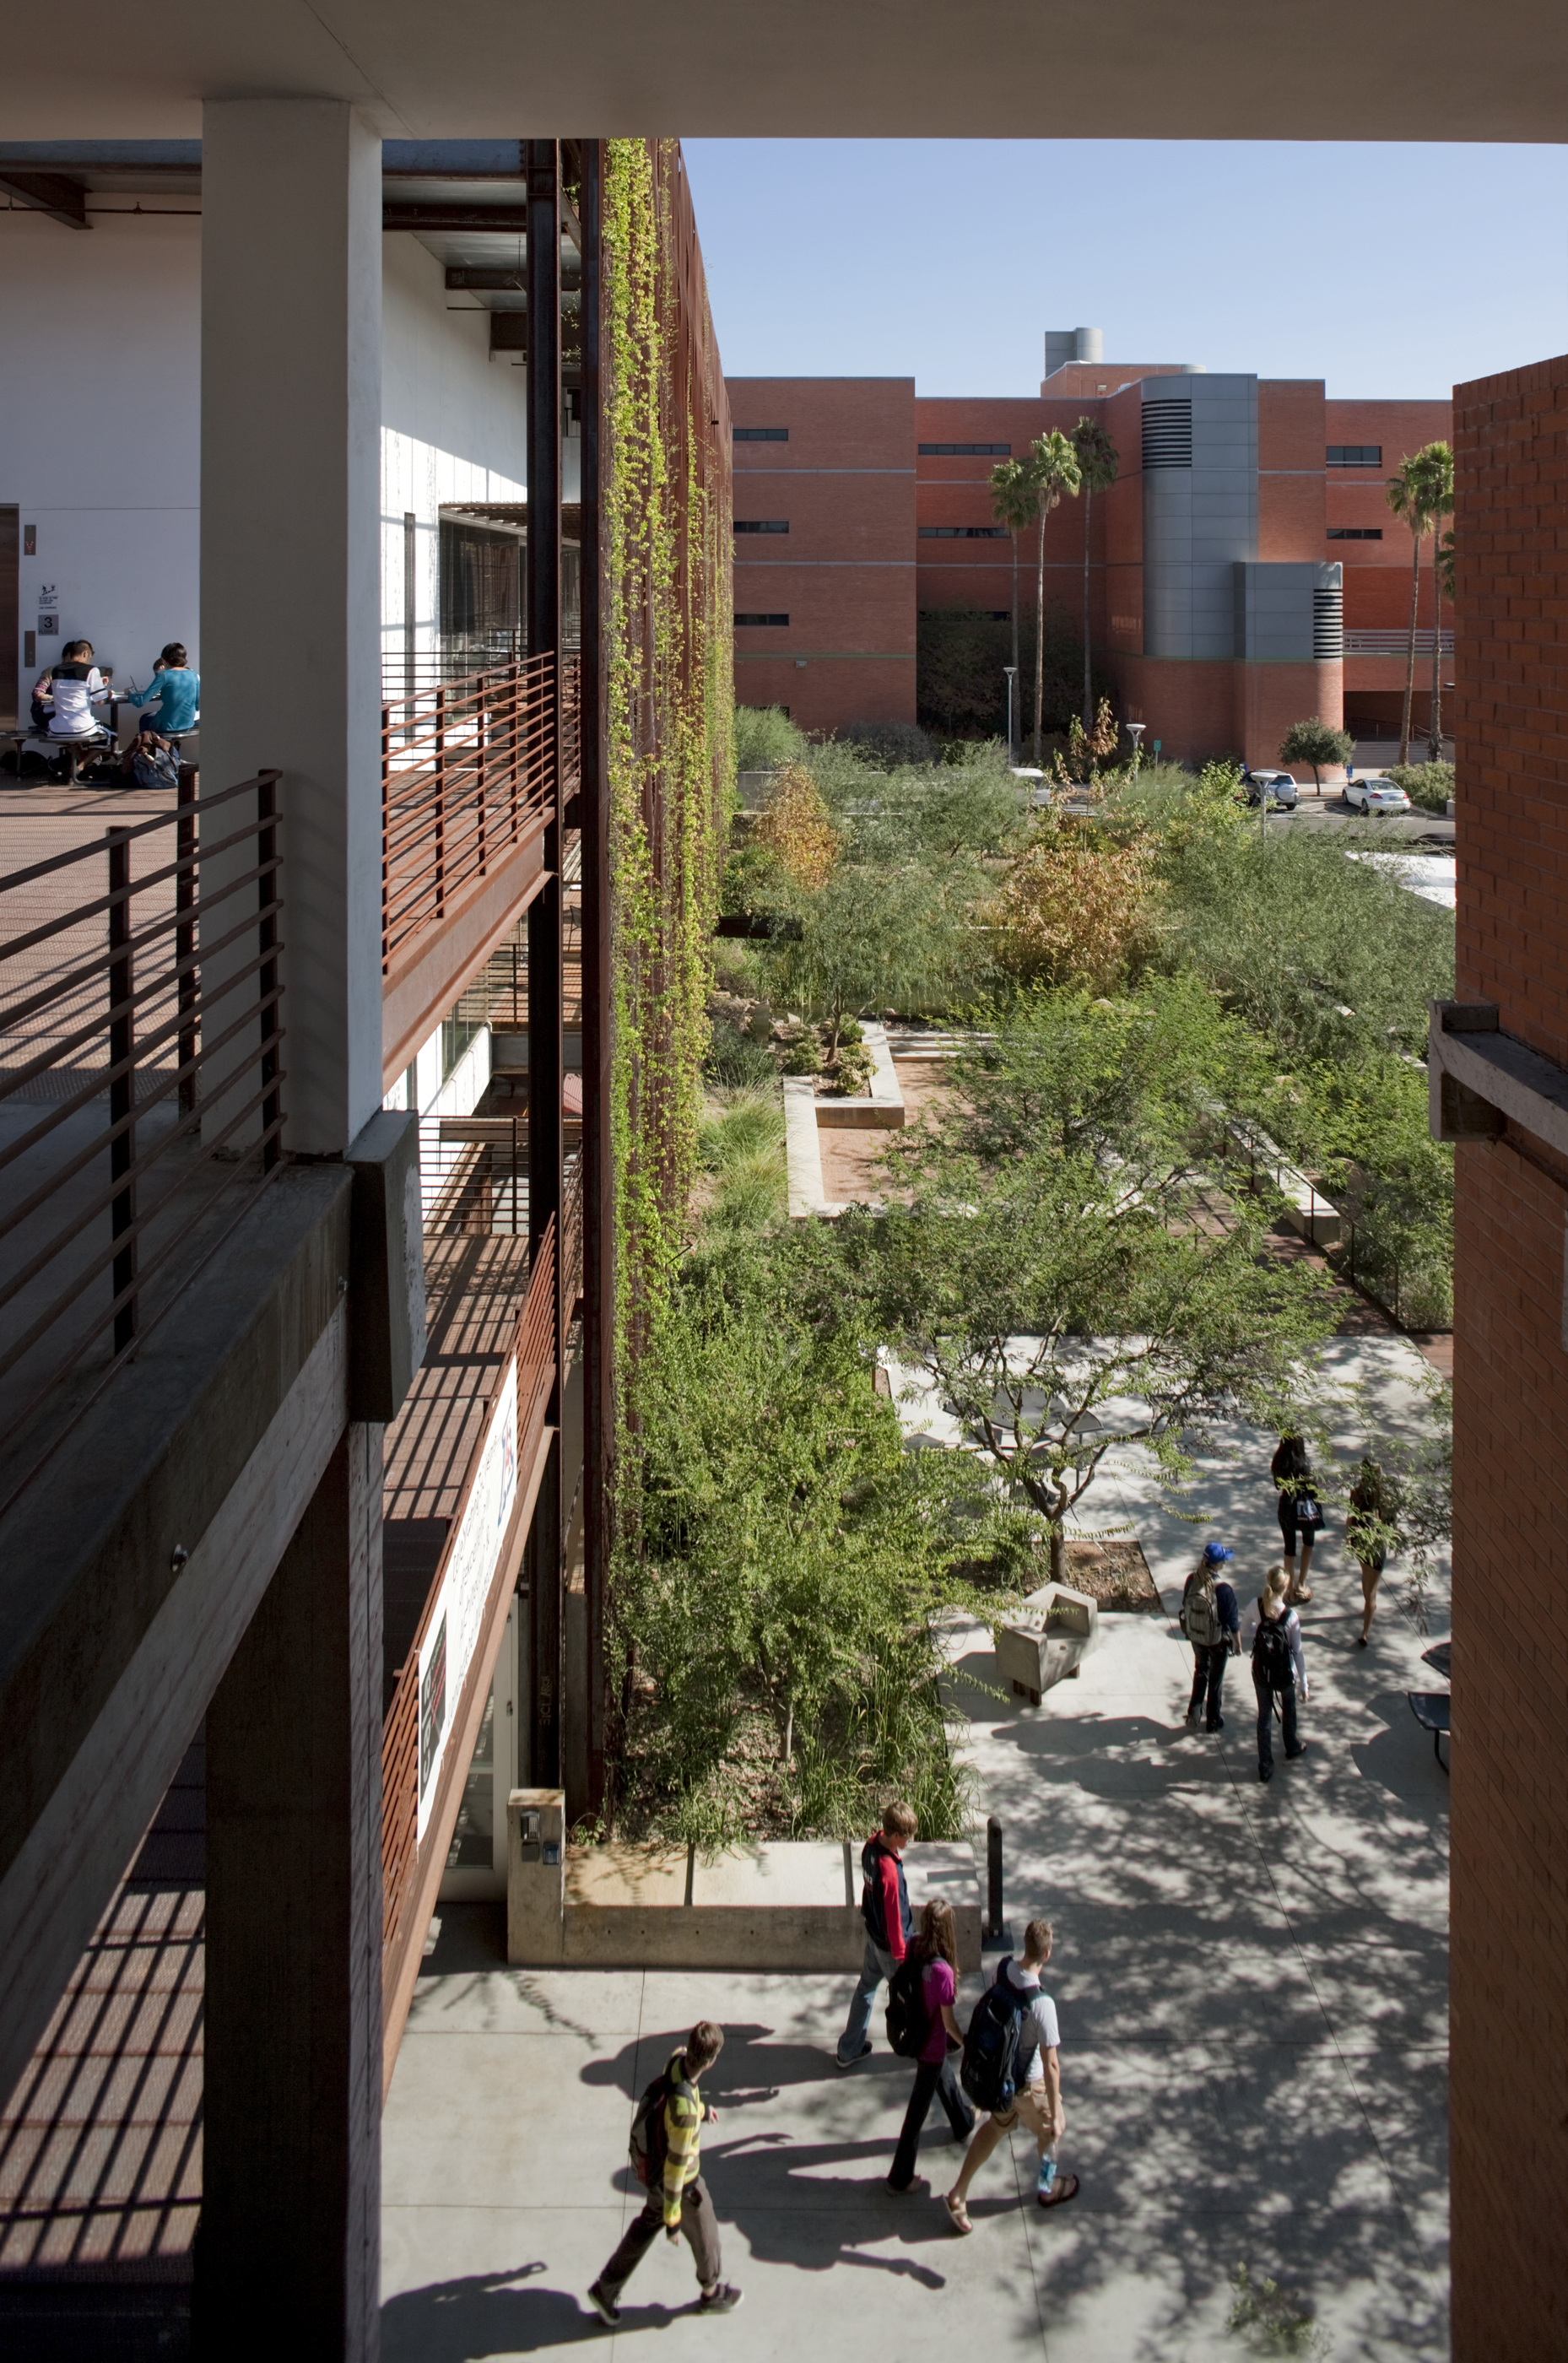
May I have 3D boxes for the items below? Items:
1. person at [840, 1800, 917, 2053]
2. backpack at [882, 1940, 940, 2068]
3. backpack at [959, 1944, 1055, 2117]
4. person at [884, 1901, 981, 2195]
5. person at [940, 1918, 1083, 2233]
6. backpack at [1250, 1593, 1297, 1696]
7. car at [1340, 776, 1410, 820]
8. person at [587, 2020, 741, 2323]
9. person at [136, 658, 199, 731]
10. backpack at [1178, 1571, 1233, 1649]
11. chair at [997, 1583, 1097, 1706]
[{"bbox_3d":[0.497,3.562,7.653,0.408,1.240,0.347,3,5,-7],"label":"person"},{"bbox_3d":[0.520,3.417,6.826,0.152,0.502,0.234,0,8,-6],"label":"backpack"},{"bbox_3d":[0.928,3.555,6.752,0.348,0.742,0.257,-1,8,-13],"label":"backpack"},{"bbox_3d":[0.627,3.660,6.967,0.477,1.207,0.342,-4,7,-34],"label":"person"},{"bbox_3d":[0.974,3.793,6.891,0.644,1.343,0.433,-7,14,-30],"label":"person"},{"bbox_3d":[3.062,2.930,10.266,0.208,0.719,0.394,8,10,40],"label":"backpack"},{"bbox_3d":[18.571,-12.156,52.352,1.039,1.012,2.844,0,20,2],"label":"car"},{"bbox_3d":[-0.495,4.110,6.660,0.495,0.461,1.071,-18,-33,-15],"label":"person"},{"bbox_3d":[-3.872,-3.036,10.266,0.316,0.481,0.775,-3,10,-24],"label":"person"},{"bbox_3d":[2.806,2.895,10.875,0.312,0.499,0.245,3,8,14],"label":"backpack"},{"bbox_3d":[1.835,3.332,11.717,0.517,0.499,0.883,7,11,33],"label":"chair"}]
